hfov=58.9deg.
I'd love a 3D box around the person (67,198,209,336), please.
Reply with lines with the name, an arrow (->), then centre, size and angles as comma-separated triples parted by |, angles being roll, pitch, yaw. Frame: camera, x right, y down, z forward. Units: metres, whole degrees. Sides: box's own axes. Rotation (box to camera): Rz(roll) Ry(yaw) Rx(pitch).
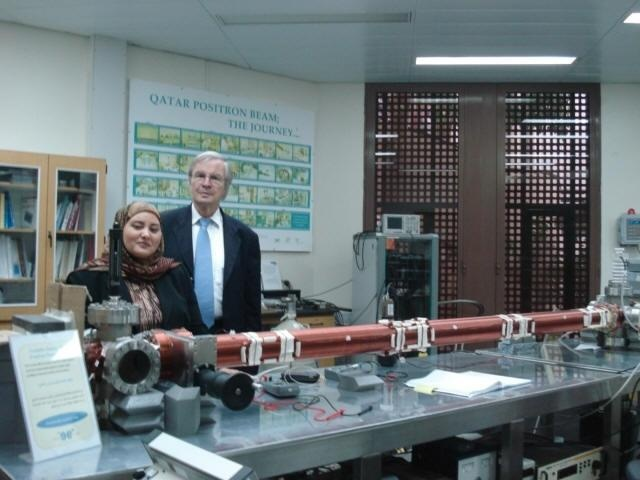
person -> -0.831, 0.125, 2.612 | 0.679, 0.760, 0.397 | 2, -17, -40
